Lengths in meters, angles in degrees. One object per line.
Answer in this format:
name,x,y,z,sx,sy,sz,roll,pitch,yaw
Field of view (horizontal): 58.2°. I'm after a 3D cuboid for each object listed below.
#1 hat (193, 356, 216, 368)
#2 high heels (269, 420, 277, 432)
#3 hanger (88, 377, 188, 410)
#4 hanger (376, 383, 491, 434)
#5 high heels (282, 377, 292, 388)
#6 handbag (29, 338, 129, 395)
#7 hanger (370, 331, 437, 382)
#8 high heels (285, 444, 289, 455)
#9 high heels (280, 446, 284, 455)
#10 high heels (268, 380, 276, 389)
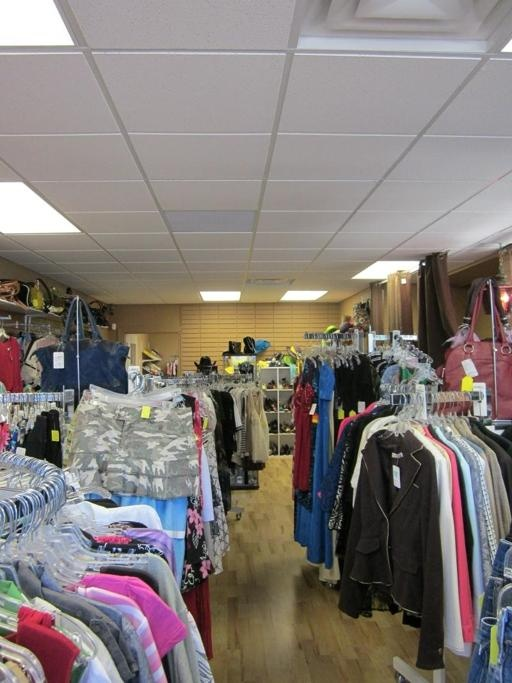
hat,-0.926,0.365,8.380,0.334,0.153,0.378,4,-7,-13
high heels,0.294,1.422,7.676,0.158,0.208,0.494,1,-1,1
hanger,-0.510,0.250,2.034,0.251,0.084,0.202,2,5,2
hanger,0.765,0.259,1.944,0.307,0.148,0.231,-1,3,-12
high heels,0.580,0.706,7.854,0.129,0.158,0.260,-2,-11,8
handbag,-1.024,0.148,2.657,0.531,0.469,0.180,0,-8,-8
hanger,0.997,0.097,3.105,0.459,0.262,0.369,2,-3,-34
high heels,0.520,1.807,7.615,0.048,0.142,0.053,-2,-44,-2
high heels,0.436,1.829,7.635,0.059,0.112,0.050,-2,-3,3
high heels,0.276,0.729,7.876,0.127,0.140,0.091,-5,-7,-3
